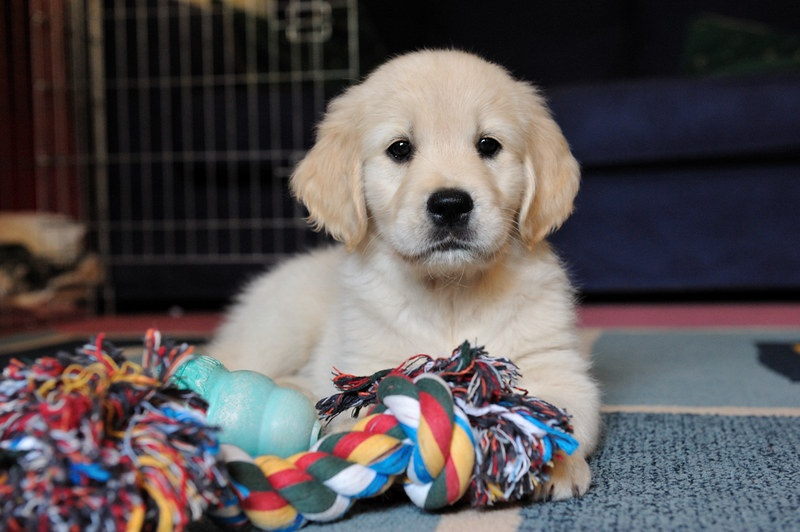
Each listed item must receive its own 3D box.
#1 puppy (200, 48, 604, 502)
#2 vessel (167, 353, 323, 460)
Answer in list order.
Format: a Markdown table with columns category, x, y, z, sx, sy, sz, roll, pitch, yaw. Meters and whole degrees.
| category | x | y | z | sx | sy | sz | roll | pitch | yaw |
| --- | --- | --- | --- | --- | --- | --- | --- | --- | --- |
| puppy | 0.031 | -0.128 | 3.145 | 1.352 | 1.400 | 2.016 | -7 | 18 | -23 |
| vessel | -0.474 | 0.424 | 2.331 | 0.513 | 0.239 | 0.253 | 17 | 46 | 11 |
